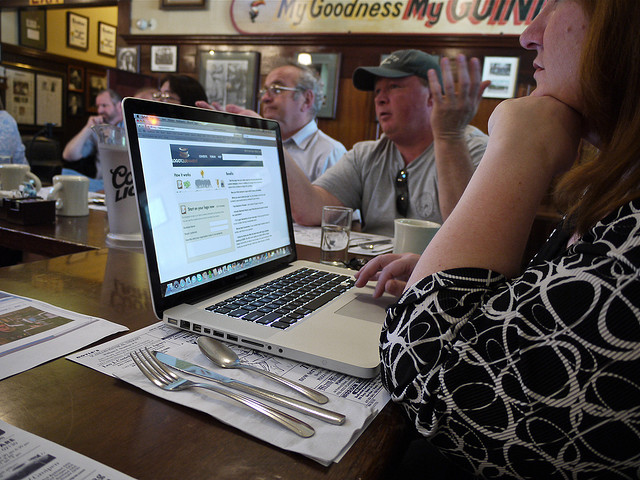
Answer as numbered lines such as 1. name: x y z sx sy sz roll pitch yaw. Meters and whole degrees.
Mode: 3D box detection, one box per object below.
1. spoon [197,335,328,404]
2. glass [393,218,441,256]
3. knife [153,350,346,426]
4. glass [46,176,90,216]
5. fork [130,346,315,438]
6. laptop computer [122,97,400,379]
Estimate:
1. spoon: -0.083 0.196 0.701 0.209 0.027 0.040 10 9 38
2. glass: 0.281 -0.010 1.365 0.123 0.096 0.098 2 9 19
3. knife: -0.101 0.212 0.662 0.233 0.012 0.026 13 11 32
4. glass: -0.879 -0.148 1.630 0.111 0.128 0.180 16 17 8
5. fork: -0.137 0.213 0.652 0.203 0.029 0.027 15 21 20
6. laptop computer: -0.066 -0.050 0.936 0.481 0.398 0.452 8 14 16
